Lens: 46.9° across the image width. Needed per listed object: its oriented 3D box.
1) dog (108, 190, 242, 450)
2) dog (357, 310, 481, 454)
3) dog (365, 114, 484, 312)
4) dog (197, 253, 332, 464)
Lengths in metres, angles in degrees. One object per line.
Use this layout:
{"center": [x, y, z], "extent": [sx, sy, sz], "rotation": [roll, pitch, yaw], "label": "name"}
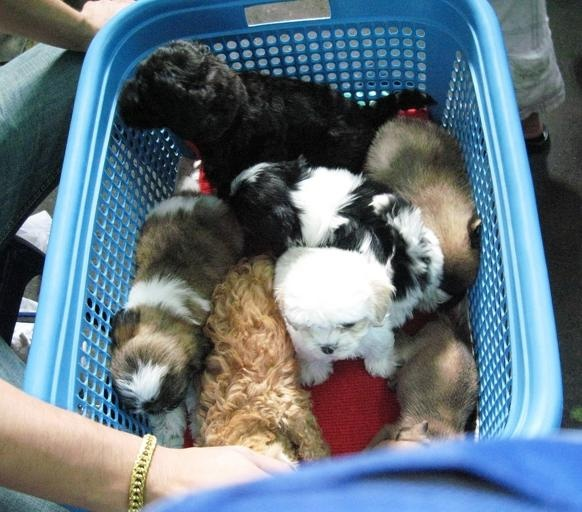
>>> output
{"center": [-0.244, 0.094, 1.442], "extent": [0.184, 0.303, 0.645], "rotation": [2, 80, 15], "label": "dog"}
{"center": [0.295, 0.278, 1.446], "extent": [0.165, 0.147, 0.384], "rotation": [-7, 47, 29], "label": "dog"}
{"center": [0.302, -0.080, 1.587], "extent": [0.209, 0.279, 0.467], "rotation": [-7, 93, 4], "label": "dog"}
{"center": [-0.054, 0.215, 1.409], "extent": [0.217, 0.208, 0.445], "rotation": [0, 87, -11], "label": "dog"}
